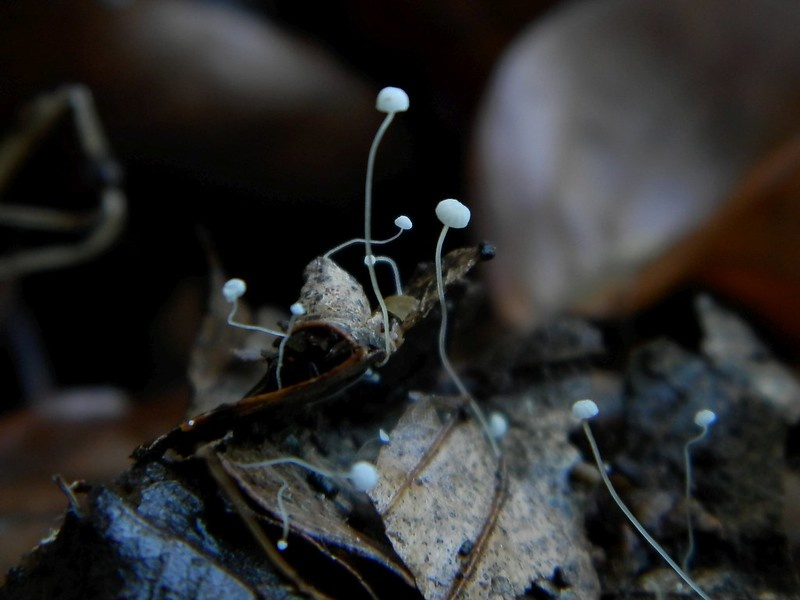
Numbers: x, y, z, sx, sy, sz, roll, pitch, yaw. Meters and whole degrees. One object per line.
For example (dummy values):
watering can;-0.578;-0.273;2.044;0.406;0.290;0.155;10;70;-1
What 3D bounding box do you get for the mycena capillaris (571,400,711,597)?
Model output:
mycena capillaris;0.625;0.523;2.092;0.070;0.090;0.454;-28;76;0
